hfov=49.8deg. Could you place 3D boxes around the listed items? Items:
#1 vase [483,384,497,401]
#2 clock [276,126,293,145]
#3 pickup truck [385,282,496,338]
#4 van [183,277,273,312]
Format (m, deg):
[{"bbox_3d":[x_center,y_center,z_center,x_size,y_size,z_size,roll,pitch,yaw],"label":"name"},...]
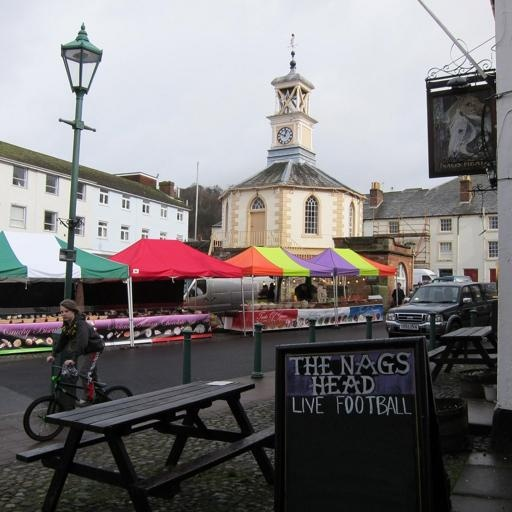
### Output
[{"bbox_3d":[2.902,1.712,6.798,0.155,0.150,0.180,8,-11,-35],"label":"vase"},{"bbox_3d":[2.173,-8.680,39.705,1.385,1.439,0.072,2,7,40],"label":"clock"},{"bbox_3d":[5.358,1.500,15.507,1.865,1.528,3.591,-6,-8,45],"label":"pickup truck"},{"bbox_3d":[-1.296,1.680,23.535,1.248,1.055,3.546,-5,-7,39],"label":"van"}]
